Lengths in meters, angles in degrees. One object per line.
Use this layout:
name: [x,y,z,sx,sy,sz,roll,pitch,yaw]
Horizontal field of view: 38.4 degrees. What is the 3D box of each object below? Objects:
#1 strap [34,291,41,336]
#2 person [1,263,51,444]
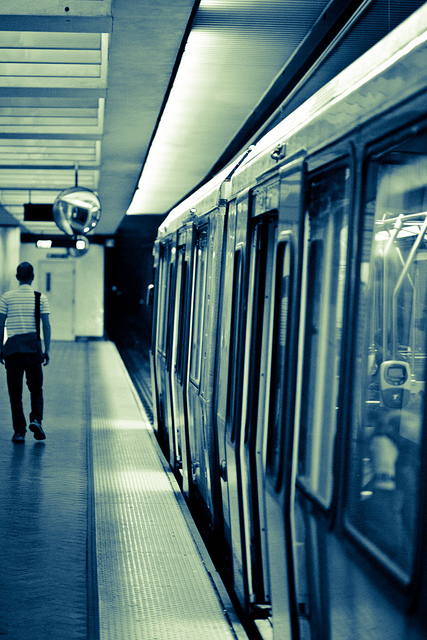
strap: [-1.963,-0.079,6.835,0.068,0.468,0.151,1,5,-16]
person: [-2.123,0.530,6.953,0.539,1.833,0.684,2,5,-10]
